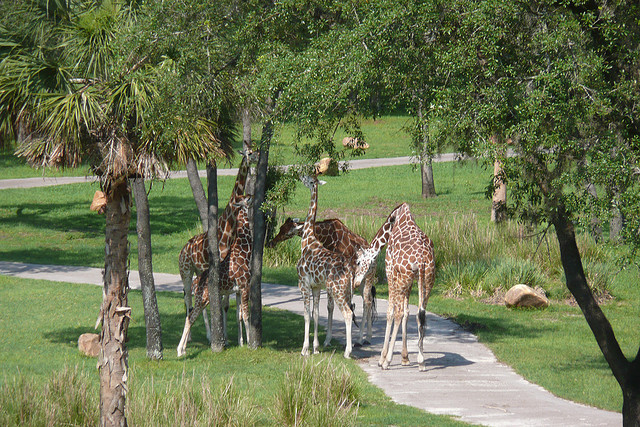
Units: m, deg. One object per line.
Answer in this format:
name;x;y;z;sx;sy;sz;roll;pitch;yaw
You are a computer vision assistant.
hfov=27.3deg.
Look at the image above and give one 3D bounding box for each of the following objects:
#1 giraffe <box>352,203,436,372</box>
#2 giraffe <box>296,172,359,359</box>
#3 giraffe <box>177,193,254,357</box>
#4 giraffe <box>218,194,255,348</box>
giraffe;1.822;1.804;33.281;1.069;4.150;4.428;4;-1;-18
giraffe;0.102;1.238;32.778;1.354;4.292;2.053;1;10;-2
giraffe;-2.530;1.438;33.057;1.658;3.780;1.589;0;10;-3
giraffe;-2.130;1.456;32.891;0.831;3.614;1.202;0;10;-3
